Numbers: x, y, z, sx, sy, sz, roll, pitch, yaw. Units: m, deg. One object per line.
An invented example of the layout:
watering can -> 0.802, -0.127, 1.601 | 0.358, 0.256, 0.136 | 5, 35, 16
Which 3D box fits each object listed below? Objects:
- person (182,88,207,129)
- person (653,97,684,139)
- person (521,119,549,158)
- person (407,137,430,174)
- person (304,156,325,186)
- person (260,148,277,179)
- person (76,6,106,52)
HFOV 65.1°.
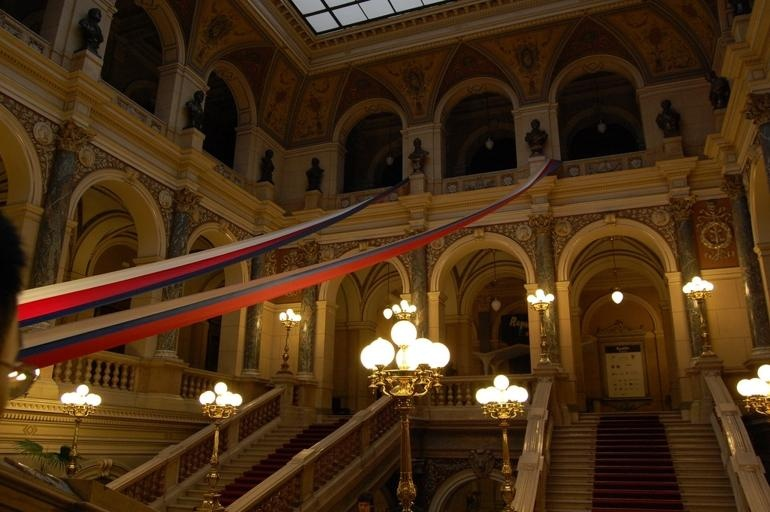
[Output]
person -> -5.204, -3.961, 16.430 | 0.377, 1.064, 0.770 | -2, 10, 6
person -> 7.907, -3.779, 16.721 | 0.681, 1.032, 0.760 | -1, 10, 12
person -> 4.422, -3.422, 17.629 | 0.690, 1.059, 0.817 | 1, 11, 20
person -> 1.005, -3.026, 18.552 | 0.567, 1.052, 0.789 | 2, 12, 27
person -> -2.269, -2.626, 19.496 | 0.607, 1.023, 0.698 | -5, 10, -12
person -> -3.769, -2.831, 19.209 | 0.386, 1.057, 0.928 | -2, 10, 3
person -> -6.733, -5.150, 13.761 | 0.377, 1.165, 0.847 | -16, -23, 4
